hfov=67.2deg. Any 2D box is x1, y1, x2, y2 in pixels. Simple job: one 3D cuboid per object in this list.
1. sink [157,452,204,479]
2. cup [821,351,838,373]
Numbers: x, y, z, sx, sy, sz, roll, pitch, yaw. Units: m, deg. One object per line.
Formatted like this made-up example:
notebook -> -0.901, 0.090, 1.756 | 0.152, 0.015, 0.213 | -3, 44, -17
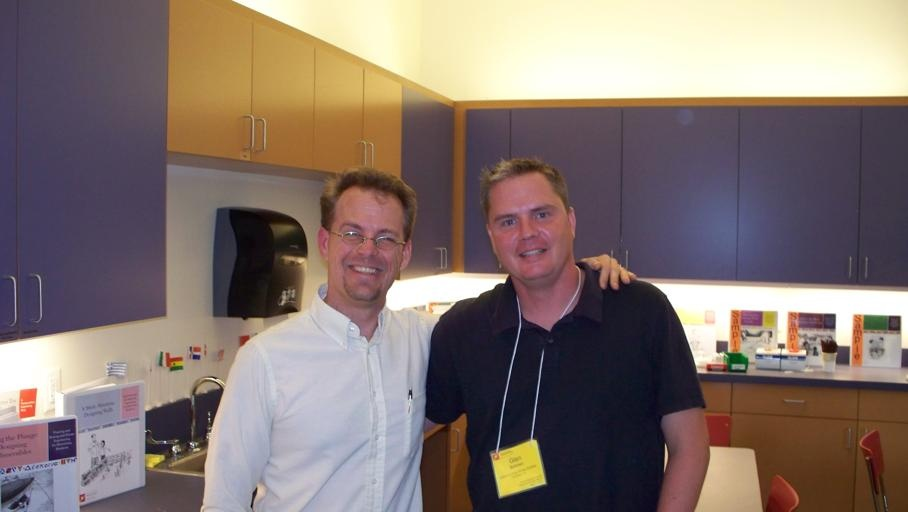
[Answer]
sink -> -1.701, 1.254, 4.275 | 0.141, 0.166, 0.255 | 1, -4, 18
cup -> 3.307, 0.932, 6.014 | 0.163, 0.168, 0.158 | 3, -12, 1
